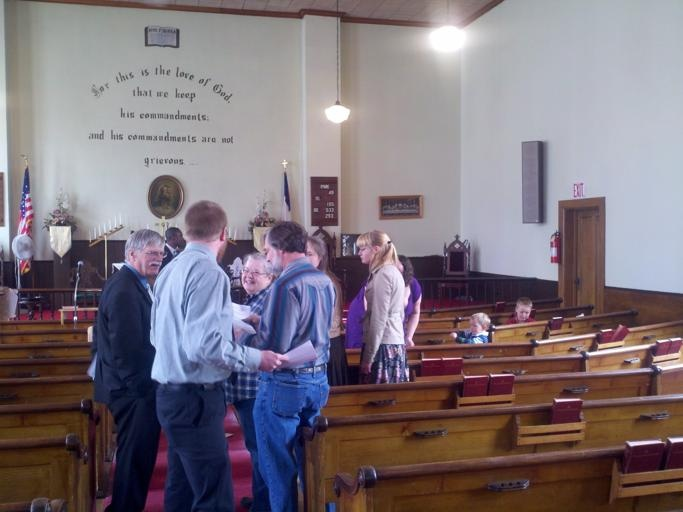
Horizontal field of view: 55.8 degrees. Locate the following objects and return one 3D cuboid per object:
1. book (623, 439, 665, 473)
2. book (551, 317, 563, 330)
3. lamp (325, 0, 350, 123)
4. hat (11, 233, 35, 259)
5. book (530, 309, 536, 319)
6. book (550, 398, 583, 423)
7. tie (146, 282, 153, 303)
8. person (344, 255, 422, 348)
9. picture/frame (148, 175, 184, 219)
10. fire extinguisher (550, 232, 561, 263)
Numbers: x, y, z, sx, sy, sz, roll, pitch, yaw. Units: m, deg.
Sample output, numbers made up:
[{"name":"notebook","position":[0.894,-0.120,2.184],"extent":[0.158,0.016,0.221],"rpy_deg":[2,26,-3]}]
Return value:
[{"name":"book","position":[1.769,1.176,3.756],"extent":[0.154,0.174,0.063],"rpy_deg":[1,2,-9]},{"name":"book","position":[2.487,0.782,7.428],"extent":[0.145,0.158,0.036],"rpy_deg":[-4,21,-24]},{"name":"lamp","position":[-0.085,-3.705,12.574],"extent":[0.499,2.287,1.149],"rpy_deg":[-1,1,2]},{"name":"hat","position":[-5.462,-0.150,11.040],"extent":[0.292,0.380,0.485],"rpy_deg":[-2,0,-23]},{"name":"book","position":[2.421,0.735,8.164],"extent":[0.115,0.118,0.027],"rpy_deg":[-1,7,-41]},{"name":"book","position":[1.510,1.044,4.309],"extent":[0.138,0.151,0.057],"rpy_deg":[0,5,-16]},{"name":"tie","position":[-1.388,0.267,4.641],"extent":[0.064,0.031,0.251],"rpy_deg":[21,20,-27]},{"name":"person","position":[0.392,0.458,6.190],"extent":[0.495,0.985,0.860],"rpy_deg":[4,-4,31]},{"name":"picture/frame","position":[-3.413,-1.131,12.367],"extent":[0.790,1.103,0.087],"rpy_deg":[1,-2,-21]},{"name":"fire extinguisher","position":[3.580,-0.149,10.734],"extent":[0.135,0.514,0.110],"rpy_deg":[-1,1,23]}]
